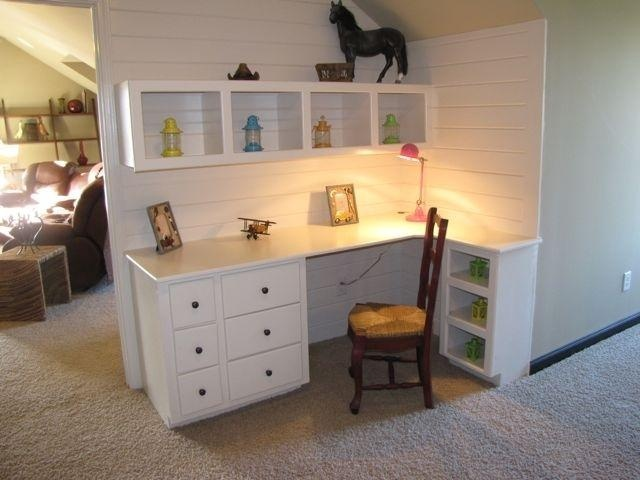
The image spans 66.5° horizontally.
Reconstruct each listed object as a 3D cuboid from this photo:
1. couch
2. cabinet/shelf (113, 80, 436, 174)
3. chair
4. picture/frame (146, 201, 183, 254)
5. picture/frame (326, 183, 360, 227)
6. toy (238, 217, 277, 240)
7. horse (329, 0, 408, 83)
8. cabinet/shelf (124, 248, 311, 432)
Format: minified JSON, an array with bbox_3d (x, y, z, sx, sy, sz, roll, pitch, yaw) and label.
[{"bbox_3d":[-2.509,-0.269,5.399,1.186,1.253,1.148,-3,19,-9],"label":"couch"},{"bbox_3d":[-0.266,-0.826,3.310,2.087,0.539,0.446,-10,16,-22],"label":"cabinet/shelf"},{"bbox_3d":[0.482,0.390,3.172,0.611,1.189,0.750,-2,15,4],"label":"chair"},{"bbox_3d":[-0.976,-0.091,3.115,0.112,0.297,0.233,1,15,17],"label":"picture/frame"},{"bbox_3d":[0.159,-0.260,3.640,0.272,0.340,0.024,-10,1,-37],"label":"picture/frame"},{"bbox_3d":[-0.421,-0.102,3.400,0.263,0.132,0.227,-9,16,-20],"label":"toy"},{"bbox_3d":[0.361,-1.429,3.523,0.560,0.569,0.278,-2,14,4],"label":"horse"},{"bbox_3d":[-0.642,0.574,3.200,0.942,0.958,0.709,-7,14,-29],"label":"cabinet/shelf"}]
